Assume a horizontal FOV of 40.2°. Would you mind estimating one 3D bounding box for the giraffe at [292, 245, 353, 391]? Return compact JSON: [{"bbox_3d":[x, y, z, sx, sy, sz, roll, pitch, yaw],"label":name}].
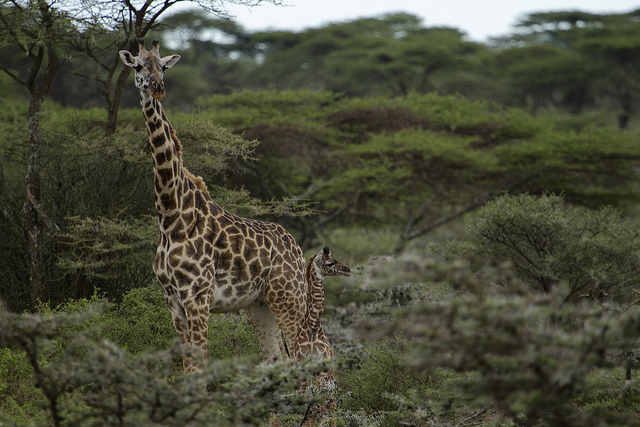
[{"bbox_3d":[-0.076,2.148,19.073,1.809,0.748,3.315,13,34,-20],"label":"giraffe"}]
